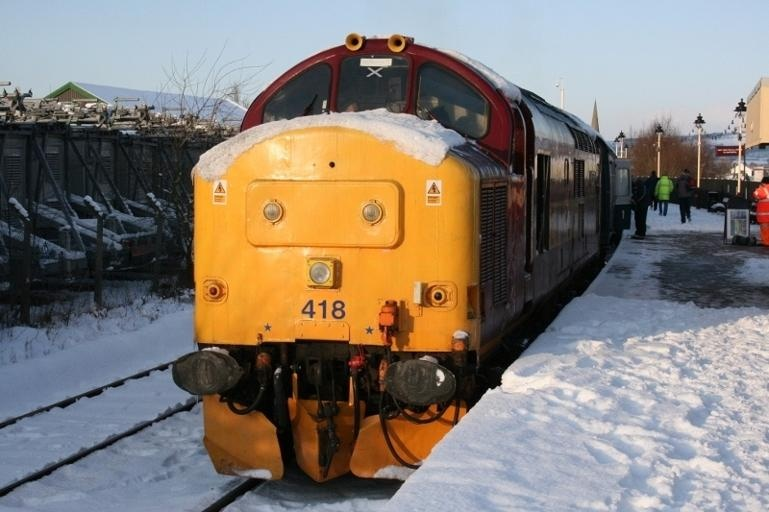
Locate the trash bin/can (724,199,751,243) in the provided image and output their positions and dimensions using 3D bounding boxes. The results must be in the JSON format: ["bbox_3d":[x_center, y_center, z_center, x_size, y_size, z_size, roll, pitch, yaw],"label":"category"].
[{"bbox_3d":[12.279,-1.228,23.151,0.817,1.625,0.648,9,9,30],"label":"trash bin/can"}]

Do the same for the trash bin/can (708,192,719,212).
[{"bbox_3d":[20.176,-3.367,40.859,0.769,1.087,3.457,8,10,25],"label":"trash bin/can"}]

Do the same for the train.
[{"bbox_3d":[0.310,0.049,7.746,5.180,5.171,2.894,-1,10,-32],"label":"train"}]
